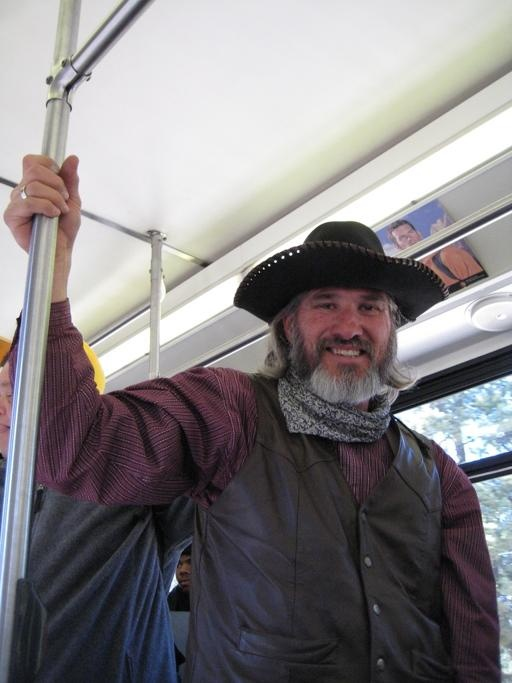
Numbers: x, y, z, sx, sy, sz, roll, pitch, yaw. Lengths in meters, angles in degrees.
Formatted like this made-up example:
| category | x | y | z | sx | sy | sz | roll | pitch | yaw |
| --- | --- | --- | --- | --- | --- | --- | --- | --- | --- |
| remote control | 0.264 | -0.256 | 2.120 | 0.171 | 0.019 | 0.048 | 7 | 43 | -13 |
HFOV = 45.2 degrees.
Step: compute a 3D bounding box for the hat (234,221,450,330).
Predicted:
| category | x | y | z | sx | sy | sz | roll | pitch | yaw |
| --- | --- | --- | --- | --- | --- | --- | --- | --- | --- |
| hat | 0.366 | -0.262 | 2.307 | 0.619 | 0.250 | 0.650 | 5 | -18 | -4 |
